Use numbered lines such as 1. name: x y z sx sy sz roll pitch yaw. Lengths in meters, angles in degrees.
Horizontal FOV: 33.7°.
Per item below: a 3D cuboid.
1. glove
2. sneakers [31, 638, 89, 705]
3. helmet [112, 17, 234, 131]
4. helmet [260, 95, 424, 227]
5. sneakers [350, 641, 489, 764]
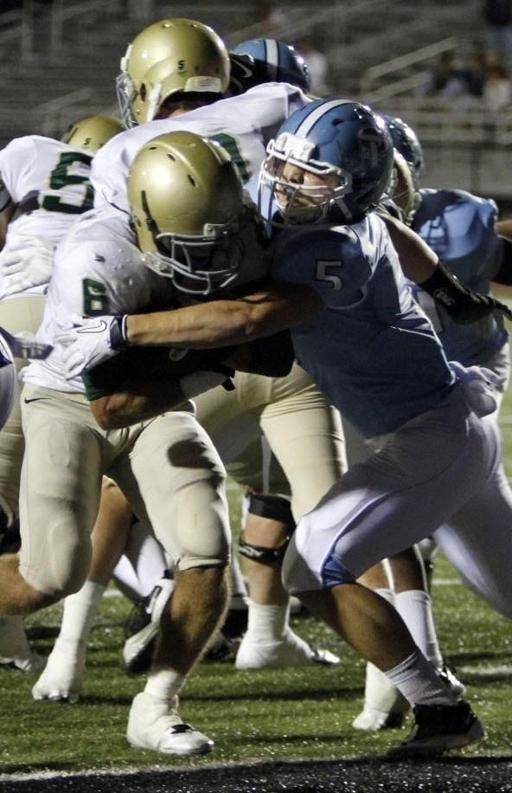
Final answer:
1. glove: -0.264 -0.090 1.446 0.142 0.077 0.042 -29 -15 36
2. sneakers: -0.439 0.627 1.911 0.100 0.057 0.140 13 48 -3
3. helmet: -0.270 -0.823 2.167 0.361 0.284 0.291 20 28 36
4. helmet: 0.127 -0.433 1.549 0.191 0.189 0.321 18 35 29
5. sneakers: 0.315 0.555 1.509 0.136 0.201 0.109 -16 35 -21
